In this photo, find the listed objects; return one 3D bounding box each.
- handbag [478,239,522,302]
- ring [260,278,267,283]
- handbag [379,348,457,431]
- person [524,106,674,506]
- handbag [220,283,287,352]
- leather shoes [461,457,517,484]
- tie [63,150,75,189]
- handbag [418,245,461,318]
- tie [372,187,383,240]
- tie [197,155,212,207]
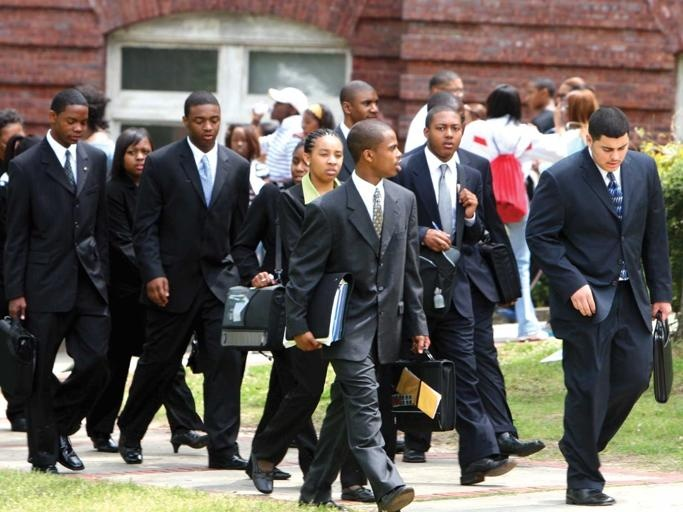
[{"bbox_3d":[1.203,0.119,10.079,0.187,0.413,0.437,-19,12,-5],"label":"handbag"},{"bbox_3d":[-0.565,0.172,9.379,0.029,0.027,0.048,4,20,-12],"label":"ring"},{"bbox_3d":[0.506,0.928,8.918,0.640,0.615,0.271,1,-4,31],"label":"handbag"},{"bbox_3d":[1.811,0.317,9.119,0.994,2.689,0.587,-1,0,6],"label":"person"},{"bbox_3d":[-0.614,0.430,9.095,0.486,0.453,0.219,-1,0,7],"label":"handbag"},{"bbox_3d":[1.061,1.556,9.511,0.397,0.202,0.187,-1,0,4],"label":"leather shoes"},{"bbox_3d":[-2.081,-0.666,9.970,0.060,0.322,0.047,-5,-18,-21],"label":"tie"},{"bbox_3d":[0.728,0.181,9.593,0.352,0.473,0.149,-1,0,-32],"label":"handbag"},{"bbox_3d":[0.247,-0.291,8.798,0.066,0.331,0.089,-1,0,2],"label":"tie"},{"bbox_3d":[-1.057,-0.587,10.144,0.106,0.384,0.065,-1,0,-8],"label":"tie"}]
